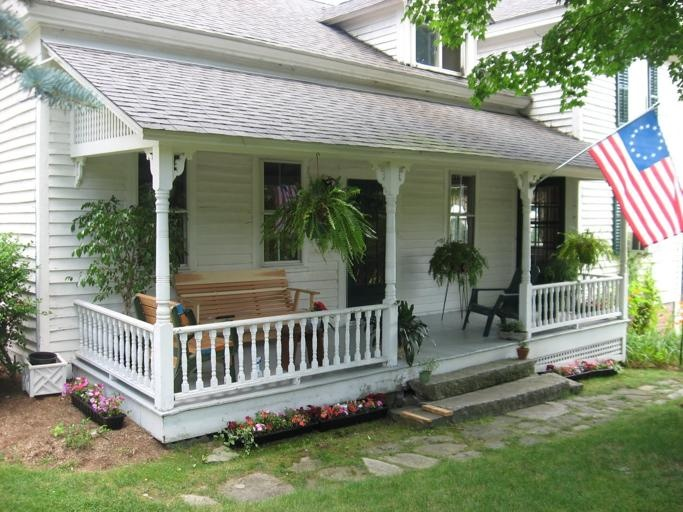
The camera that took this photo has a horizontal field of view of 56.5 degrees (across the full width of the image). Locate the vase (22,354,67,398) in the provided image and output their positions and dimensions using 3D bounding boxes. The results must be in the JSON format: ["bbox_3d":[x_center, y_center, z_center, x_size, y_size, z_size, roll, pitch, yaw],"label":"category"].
[{"bbox_3d":[-4.445,1.742,9.430,0.579,0.548,0.583,12,9,39],"label":"vase"}]

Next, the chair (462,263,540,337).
[{"bbox_3d":[2.974,0.808,12.122,1.551,1.692,1.182,-3,2,-23],"label":"chair"}]

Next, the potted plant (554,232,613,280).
[{"bbox_3d":[4.826,-0.074,12.967,1.037,0.743,1.061,4,-10,-9],"label":"potted plant"}]

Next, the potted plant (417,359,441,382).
[{"bbox_3d":[1.291,1.712,9.553,0.252,0.354,0.298,4,-5,16],"label":"potted plant"}]

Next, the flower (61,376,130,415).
[{"bbox_3d":[-3.414,1.917,8.799,0.434,0.412,1.294,0,4,-38],"label":"flower"}]

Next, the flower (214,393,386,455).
[{"bbox_3d":[-0.516,2.188,8.539,2.323,0.366,0.455,-3,9,-32],"label":"flower"}]

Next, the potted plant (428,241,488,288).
[{"bbox_3d":[2.245,0.099,12.507,1.085,0.863,1.146,0,4,33],"label":"potted plant"}]

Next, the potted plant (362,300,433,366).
[{"bbox_3d":[0.916,1.185,10.113,0.911,0.901,0.936,-4,-2,36],"label":"potted plant"}]

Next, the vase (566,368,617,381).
[{"bbox_3d":[4.660,2.182,11.680,1.373,0.158,0.124,-3,9,-31],"label":"vase"}]
